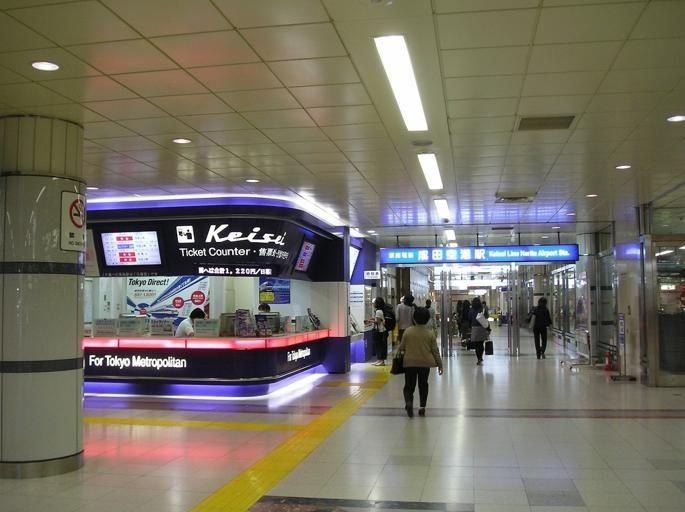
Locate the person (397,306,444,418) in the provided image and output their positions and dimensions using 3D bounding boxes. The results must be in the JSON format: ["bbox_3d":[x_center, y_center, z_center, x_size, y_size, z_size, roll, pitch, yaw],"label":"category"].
[{"bbox_3d":[1.223,1.655,8.292,0.681,1.661,0.422,-1,-5,6],"label":"person"}]

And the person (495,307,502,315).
[{"bbox_3d":[10.693,3.764,35.882,0.596,0.540,1.062,-4,-10,21],"label":"person"}]

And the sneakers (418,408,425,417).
[{"bbox_3d":[1.259,2.452,8.239,0.112,0.082,0.151,-5,-3,10],"label":"sneakers"}]

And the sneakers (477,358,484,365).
[{"bbox_3d":[3.677,2.861,14.153,0.154,0.140,0.262,-4,-7,21],"label":"sneakers"}]

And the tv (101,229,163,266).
[{"bbox_3d":[-4.360,-0.138,10.789,1.310,0.676,0.303,-2,-6,14],"label":"tv"}]

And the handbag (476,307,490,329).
[{"bbox_3d":[3.928,1.785,14.737,0.367,0.494,0.572,-1,-5,12],"label":"handbag"}]

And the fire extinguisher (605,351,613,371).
[{"bbox_3d":[6.272,2.476,12.376,0.171,0.423,0.265,-1,-5,8],"label":"fire extinguisher"}]

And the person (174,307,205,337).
[{"bbox_3d":[-2.968,1.293,10.162,0.492,0.516,0.856,3,-6,-31],"label":"person"}]
